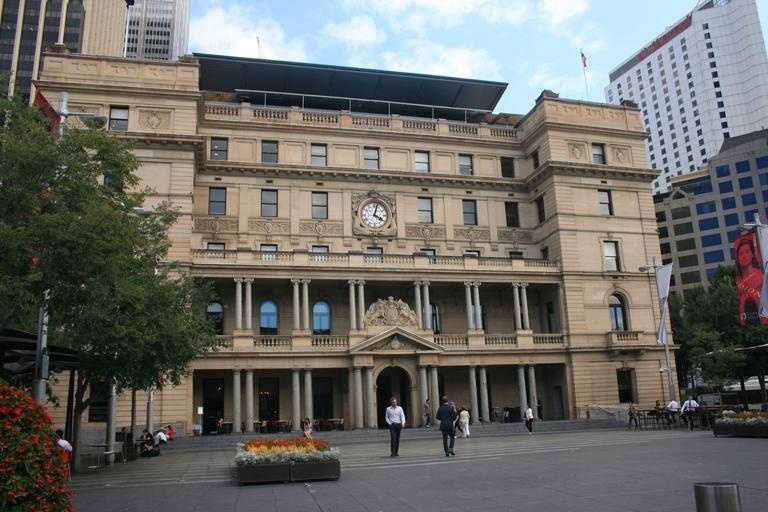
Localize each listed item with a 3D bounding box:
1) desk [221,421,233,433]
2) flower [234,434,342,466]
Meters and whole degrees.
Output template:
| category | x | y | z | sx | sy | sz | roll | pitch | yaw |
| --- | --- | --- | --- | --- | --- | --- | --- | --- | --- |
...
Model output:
| category | x | y | z | sx | sy | sz | roll | pitch | yaw |
| --- | --- | --- | --- | --- | --- | --- | --- | --- | --- |
| desk | -10.676 | 11.644 | 50.443 | 0.939 | 0.773 | 0.868 | -6 | -17 | 6 |
| flower | -4.023 | 7.897 | 30.044 | 3.844 | 0.973 | 1.662 | 0 | -15 | -10 |
